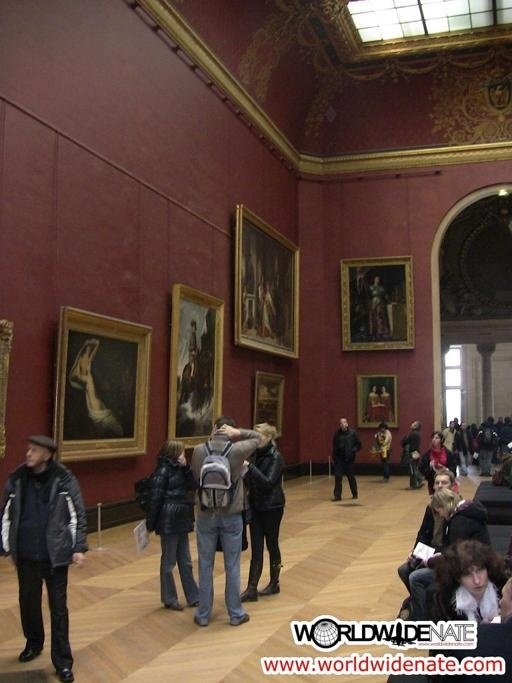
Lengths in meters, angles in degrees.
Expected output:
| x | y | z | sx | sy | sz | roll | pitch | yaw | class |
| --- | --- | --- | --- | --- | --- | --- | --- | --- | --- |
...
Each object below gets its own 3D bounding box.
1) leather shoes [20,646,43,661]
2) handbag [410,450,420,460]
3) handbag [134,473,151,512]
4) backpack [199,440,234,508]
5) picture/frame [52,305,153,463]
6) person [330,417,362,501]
| x | y | z | sx | sy | sz | roll | pitch | yaw | class |
| --- | --- | --- | --- | --- | --- | --- | --- | --- | --- |
| -1.464 | 2.028 | 3.306 | 0.056 | 0.074 | 0.156 | 4 | -11 | 23 | leather shoes |
| 4.280 | 3.054 | 13.574 | 0.199 | 0.182 | 0.221 | 3 | -3 | 15 | handbag |
| -1.027 | 1.383 | 4.590 | 0.062 | 0.297 | 0.271 | 7 | -5 | -27 | handbag |
| -0.290 | 1.086 | 4.018 | 0.218 | 0.468 | 0.422 | -3 | -1 | 7 | backpack |
| -2.330 | 0.752 | 7.764 | 0.211 | 2.189 | 2.266 | -2 | -7 | 19 | picture/frame |
| 2.093 | 2.756 | 11.772 | 0.639 | 1.854 | 0.986 | -1 | -5 | 8 | person |
